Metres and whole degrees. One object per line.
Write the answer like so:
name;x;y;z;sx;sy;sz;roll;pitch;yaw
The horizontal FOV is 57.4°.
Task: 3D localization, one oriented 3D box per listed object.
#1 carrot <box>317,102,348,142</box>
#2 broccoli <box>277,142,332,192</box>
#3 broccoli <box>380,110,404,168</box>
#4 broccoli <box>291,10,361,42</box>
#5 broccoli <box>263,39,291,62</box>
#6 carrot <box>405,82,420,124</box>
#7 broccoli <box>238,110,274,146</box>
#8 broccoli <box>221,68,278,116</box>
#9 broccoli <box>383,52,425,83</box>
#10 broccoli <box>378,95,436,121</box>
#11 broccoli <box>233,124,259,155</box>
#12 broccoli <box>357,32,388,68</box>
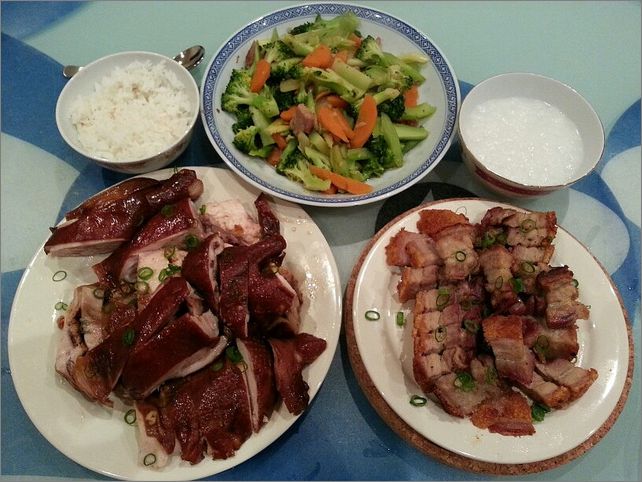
carrot;0.088;-0.922;4.585;0.170;0.064;0.315;-31;75;-18
broccoli;-0.129;-0.540;4.577;0.425;0.105;0.286;35;76;14
broccoli;0.563;-0.787;4.695;0.117;0.134;0.481;-13;85;-7
broccoli;0.044;-1.736;4.885;0.535;0.191;0.258;-15;72;8
broccoli;-0.347;-1.529;4.719;0.185;0.051;0.199;-11;90;-10
carrot;0.739;-1.177;4.808;0.130;0.042;0.192;-1;90;-11
broccoli;-0.495;-0.950;4.642;0.103;0.104;0.426;-23;93;-1
broccoli;-0.570;-1.147;4.680;0.416;0.184;0.318;16;77;-9
broccoli;0.674;-1.427;4.813;0.297;0.083;0.251;28;73;1
broccoli;0.687;-1.040;4.678;0.315;0.142;0.234;-4;84;-10
broccoli;-0.581;-0.784;4.555;0.179;0.112;0.208;10;92;-30
broccoli;0.407;-1.527;4.737;0.190;0.120;0.271;-43;64;-15
